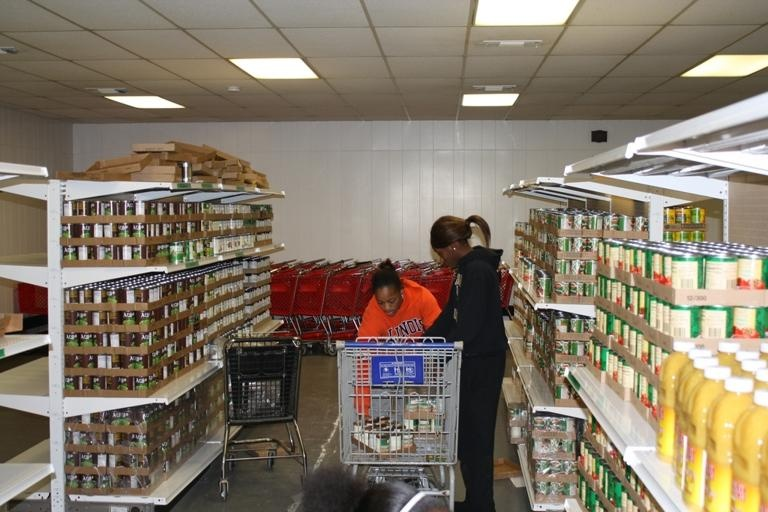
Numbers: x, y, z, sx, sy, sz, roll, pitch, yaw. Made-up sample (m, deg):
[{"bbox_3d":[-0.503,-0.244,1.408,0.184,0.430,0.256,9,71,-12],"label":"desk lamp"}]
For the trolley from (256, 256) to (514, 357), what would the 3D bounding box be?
[{"bbox_3d":[0.023,0.779,9.226,3.448,1.308,1.766,-1,10,7],"label":"trolley"}]
